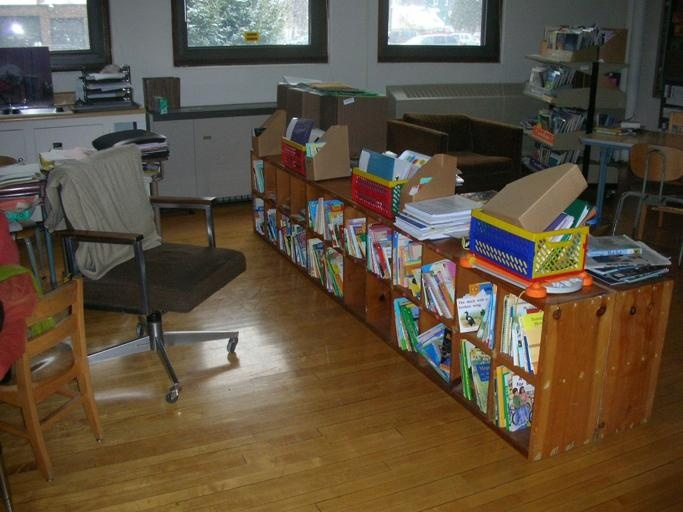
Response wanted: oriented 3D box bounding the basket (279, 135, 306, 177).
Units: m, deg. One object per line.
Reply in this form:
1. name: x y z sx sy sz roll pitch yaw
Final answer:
1. basket: -0.306 -0.807 4.315 0.213 0.244 0.378 -12 28 -30

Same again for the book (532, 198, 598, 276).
1. book: 0.962 -0.102 2.524 0.278 0.234 0.382 -6 22 -5

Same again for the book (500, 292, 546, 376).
1. book: 0.807 0.348 2.458 0.112 0.304 0.241 -5 15 -30

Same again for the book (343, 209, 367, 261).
1. book: 0.090 -0.140 3.625 0.105 0.286 0.227 -4 7 -28

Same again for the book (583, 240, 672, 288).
1. book: 1.344 0.016 2.655 0.434 0.114 0.368 -7 19 -15

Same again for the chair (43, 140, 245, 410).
1. chair: -1.132 0.054 3.187 1.032 1.192 0.887 4 18 -1

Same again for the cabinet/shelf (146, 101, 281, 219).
1. cabinet/shelf: -1.429 -1.152 6.084 1.542 1.001 0.497 -15 28 -39

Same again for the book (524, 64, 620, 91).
1. book: 2.637 -2.047 6.207 0.704 0.172 0.756 -3 17 -7

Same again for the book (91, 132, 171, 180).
1. book: -1.563 -0.824 4.087 0.502 0.182 0.463 -14 33 -32

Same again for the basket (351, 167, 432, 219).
1. basket: 0.309 -0.398 3.338 0.321 0.261 0.571 -7 23 -28

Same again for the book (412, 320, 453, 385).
1. book: 0.552 0.557 3.078 0.272 0.268 0.093 -38 -8 28

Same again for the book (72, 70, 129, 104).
1. book: -2.416 -1.712 5.466 0.435 0.303 0.399 -7 19 -27

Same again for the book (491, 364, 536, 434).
1. book: 0.839 0.689 2.626 0.197 0.331 0.109 0 19 6

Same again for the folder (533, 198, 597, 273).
1. folder: 1.014 -0.106 2.531 0.265 0.230 0.379 -2 21 1

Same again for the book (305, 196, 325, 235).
1. book: -0.190 -0.303 4.018 0.159 0.242 0.255 -6 15 -18

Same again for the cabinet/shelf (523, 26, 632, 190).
1. cabinet/shelf: 2.809 -1.878 6.543 0.868 1.552 1.181 -5 27 5

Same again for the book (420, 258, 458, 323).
1. book: 0.521 0.172 2.890 0.218 0.280 0.102 5 10 39

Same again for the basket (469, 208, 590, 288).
1. basket: 0.863 -0.068 2.560 0.381 0.209 0.492 -12 22 -30

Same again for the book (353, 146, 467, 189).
1. book: 0.447 -0.586 3.336 0.457 0.141 0.308 -9 26 -32

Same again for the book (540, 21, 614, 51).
1. book: 2.702 -2.402 6.018 0.618 0.190 0.457 -13 26 -28

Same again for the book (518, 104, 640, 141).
1. book: 2.662 -1.519 6.152 0.443 0.394 0.843 -9 24 -18

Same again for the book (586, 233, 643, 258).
1. book: 1.366 -0.049 2.728 0.164 0.033 0.168 -2 20 0

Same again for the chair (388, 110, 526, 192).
1. chair: 1.236 -1.179 6.193 1.298 0.850 1.305 -17 28 -35

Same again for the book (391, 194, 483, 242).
1. book: 0.559 -0.209 2.980 0.307 0.095 0.296 -11 23 -25
